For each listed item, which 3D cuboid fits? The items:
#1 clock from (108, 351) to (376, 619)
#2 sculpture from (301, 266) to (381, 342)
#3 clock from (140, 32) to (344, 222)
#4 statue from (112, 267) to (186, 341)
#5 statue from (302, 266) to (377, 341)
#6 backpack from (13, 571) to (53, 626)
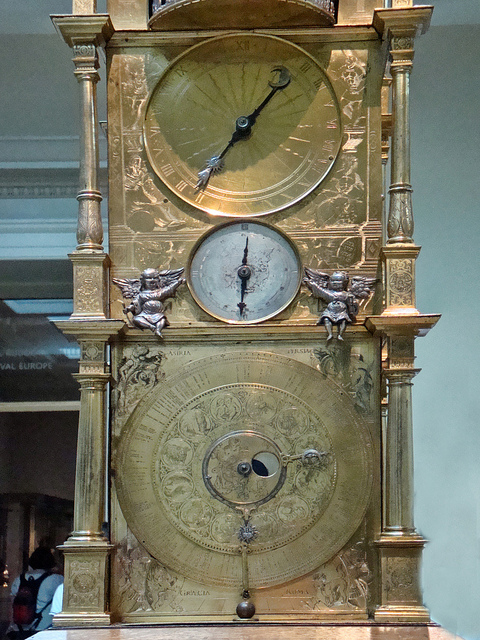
[{"bbox_3d":[0.020,0.967,10.366,1.394,1.625,0.179,0,-8,0],"label":"clock"},{"bbox_3d":[0.534,-0.085,10.522,0.319,0.415,0.282,-5,-2,24],"label":"sculpture"},{"bbox_3d":[0.034,-1.045,10.700,1.048,1.064,0.079,0,-4,3],"label":"clock"},{"bbox_3d":[-0.503,-0.090,10.538,0.419,0.442,0.126,-1,-20,-1],"label":"statue"},{"bbox_3d":[0.545,-0.094,10.513,0.407,0.402,0.151,-3,5,2],"label":"statue"},{"bbox_3d":[-1.297,1.752,12.019,0.208,0.289,0.306,5,6,35],"label":"backpack"}]
